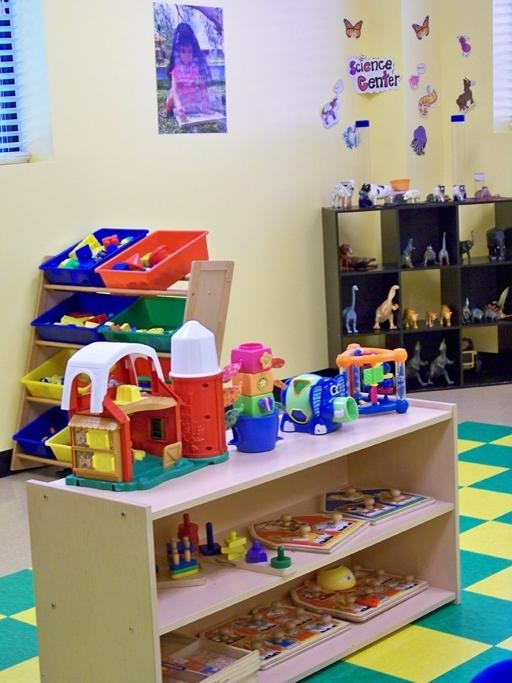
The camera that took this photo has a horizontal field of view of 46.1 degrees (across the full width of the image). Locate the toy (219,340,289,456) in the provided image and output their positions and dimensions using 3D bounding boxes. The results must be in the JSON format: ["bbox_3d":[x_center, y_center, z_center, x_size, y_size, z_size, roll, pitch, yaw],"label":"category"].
[{"bbox_3d":[0.027,0.128,1.329,0.163,0.206,0.147,-5,-8,9],"label":"toy"}]

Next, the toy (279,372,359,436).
[{"bbox_3d":[0.160,0.151,1.477,0.185,0.127,0.155,1,6,42],"label":"toy"}]

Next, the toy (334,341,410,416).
[{"bbox_3d":[0.330,0.102,1.680,0.206,0.180,0.208,-8,12,-30],"label":"toy"}]

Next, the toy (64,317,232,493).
[{"bbox_3d":[-0.189,0.106,1.117,0.185,0.259,0.318,1,3,43],"label":"toy"}]
